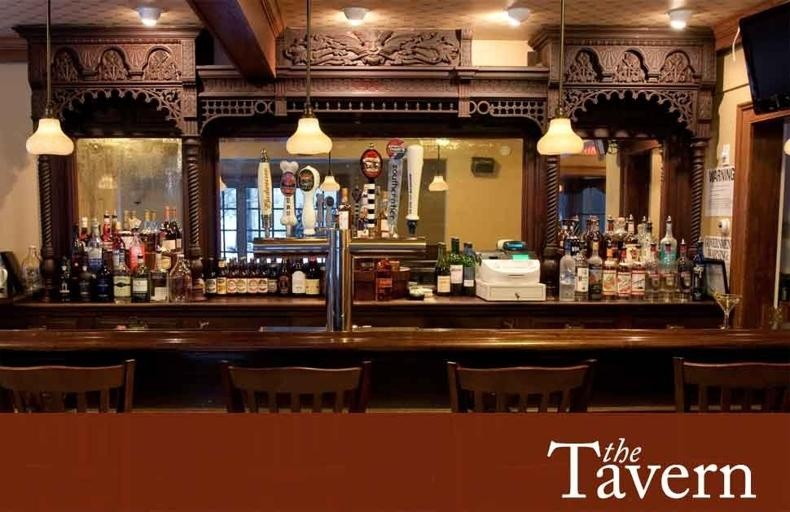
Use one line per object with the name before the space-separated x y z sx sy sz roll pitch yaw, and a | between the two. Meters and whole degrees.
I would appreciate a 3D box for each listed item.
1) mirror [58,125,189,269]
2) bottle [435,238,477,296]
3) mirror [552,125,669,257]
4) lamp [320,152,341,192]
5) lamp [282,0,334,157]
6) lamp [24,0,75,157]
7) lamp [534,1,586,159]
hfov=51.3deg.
mirror | -2.425 -0.521 7.193 1.289 1.166 0.417 2 -1 -5
bottle | 0.522 0.098 7.001 0.340 0.474 0.285 0 -1 4
mirror | 1.970 -0.600 7.364 1.236 1.086 0.389 0 0 0
lamp | -0.594 -0.760 7.526 0.124 0.353 0.174 0 -1 25
lamp | -0.682 -1.395 6.441 0.314 1.284 1.322 0 0 -7
lamp | -2.717 -1.386 6.443 0.318 1.221 0.976 0 -1 -22
lamp | 1.313 -1.408 6.519 0.326 1.234 1.004 0 -1 10
